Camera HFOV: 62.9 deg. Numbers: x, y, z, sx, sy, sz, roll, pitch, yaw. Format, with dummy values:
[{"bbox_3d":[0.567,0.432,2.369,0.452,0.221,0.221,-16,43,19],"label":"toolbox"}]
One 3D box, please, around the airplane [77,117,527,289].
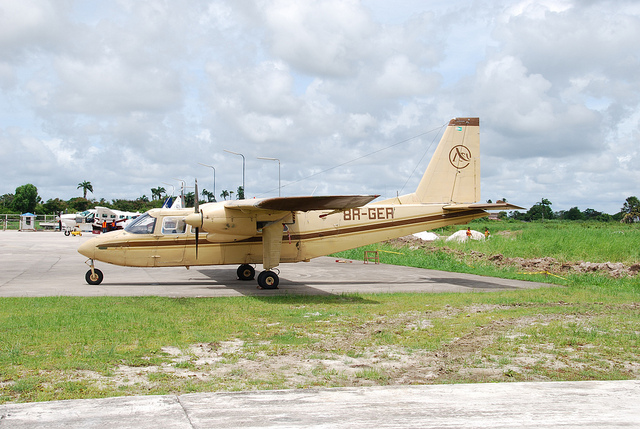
[{"bbox_3d":[-0.527,0.403,18.831,11.462,3.236,9.463,-1,0,-9],"label":"airplane"}]
